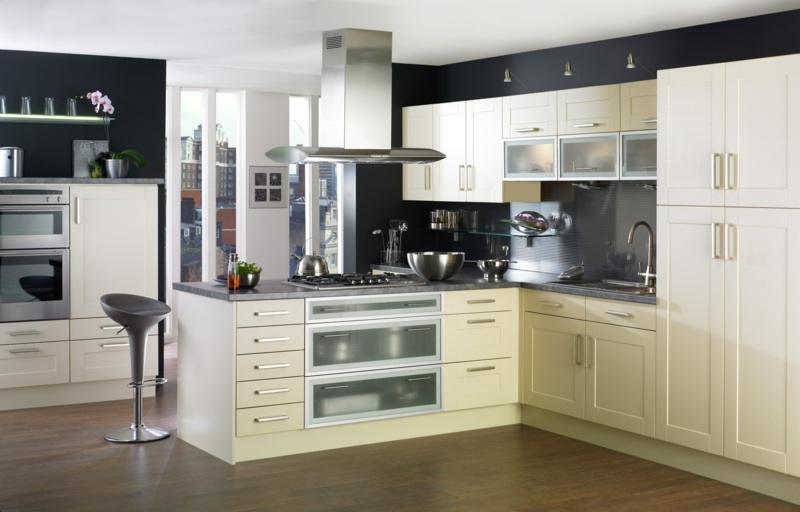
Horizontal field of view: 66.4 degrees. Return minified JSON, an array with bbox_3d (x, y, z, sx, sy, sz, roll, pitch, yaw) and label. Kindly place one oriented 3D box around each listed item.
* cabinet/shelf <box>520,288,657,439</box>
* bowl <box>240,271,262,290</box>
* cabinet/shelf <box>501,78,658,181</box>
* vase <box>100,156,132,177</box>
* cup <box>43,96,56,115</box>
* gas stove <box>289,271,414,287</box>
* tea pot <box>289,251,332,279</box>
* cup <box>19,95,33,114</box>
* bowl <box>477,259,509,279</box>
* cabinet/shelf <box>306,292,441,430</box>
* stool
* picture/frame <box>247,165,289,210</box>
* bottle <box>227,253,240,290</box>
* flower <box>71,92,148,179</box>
[{"bbox_3d":[1.848,0.877,5.436,0.729,1.077,1.436,0,1,-34],"label":"cabinet/shelf"},{"bbox_3d":[-1.238,0.196,5.059,0.161,0.075,0.146,-1,4,-9],"label":"bowl"},{"bbox_3d":[1.851,-1.119,5.715,0.624,0.826,1.911,-9,12,-33],"label":"cabinet/shelf"},{"bbox_3d":[-2.919,-0.923,6.292,0.216,0.156,0.243,0,-2,-6],"label":"vase"},{"bbox_3d":[-3.614,-1.558,6.335,0.096,0.193,0.116,-3,8,-27],"label":"cup"},{"bbox_3d":[-0.393,0.205,5.372,1.101,0.048,0.621,-2,7,-21],"label":"gas stove"},{"bbox_3d":[-0.821,0.076,5.581,0.328,0.166,0.269,3,1,22],"label":"tea pot"},{"bbox_3d":[-3.833,-1.556,6.279,0.111,0.200,0.118,1,7,0],"label":"cup"},{"bbox_3d":[0.869,0.114,5.893,0.238,0.104,0.215,-2,6,-15],"label":"bowl"},{"bbox_3d":[-0.456,0.870,5.403,1.512,1.036,0.853,3,-5,-39],"label":"cabinet/shelf"},{"bbox_3d":[-2.323,0.949,5.425,0.549,1.231,0.771,-3,8,-23],"label":"stool"},{"bbox_3d":[-1.849,-0.986,8.619,0.687,0.580,0.028,4,5,30],"label":"picture/frame"},{"bbox_3d":[-1.339,0.126,4.932,0.099,0.272,0.289,-1,7,-16],"label":"bottle"},{"bbox_3d":[-3.034,-1.282,6.356,0.671,0.923,0.503,-1,7,-14],"label":"flower"}]
